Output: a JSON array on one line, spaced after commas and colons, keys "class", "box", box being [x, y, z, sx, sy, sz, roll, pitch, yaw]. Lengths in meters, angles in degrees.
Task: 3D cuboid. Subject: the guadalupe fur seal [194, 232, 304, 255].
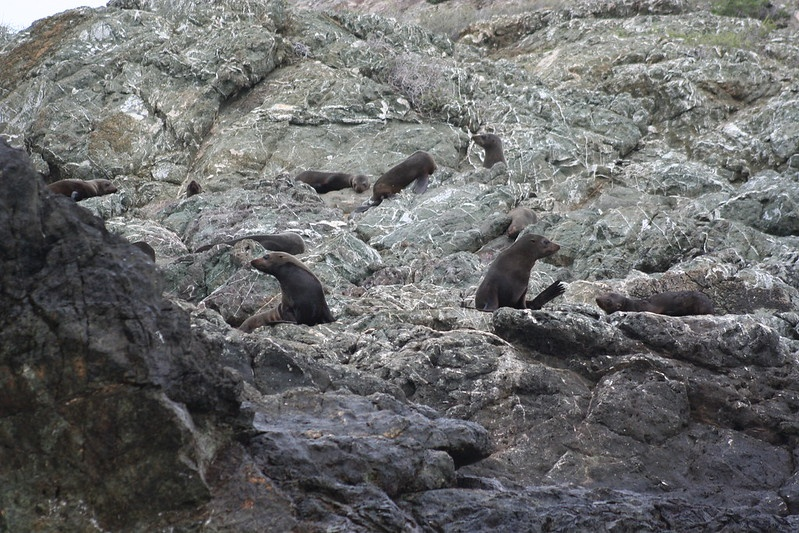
[{"class": "guadalupe fur seal", "box": [-2.910, -0.471, 20.692, 1.964, 0.659, 0.756, -2, -2, -20]}]

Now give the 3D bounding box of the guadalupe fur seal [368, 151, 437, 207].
[{"class": "guadalupe fur seal", "box": [0.178, -2.041, 24.088, 1.642, 0.900, 0.631, -33, -27, -50]}]

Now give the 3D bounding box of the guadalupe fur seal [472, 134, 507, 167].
[{"class": "guadalupe fur seal", "box": [2.198, -2.881, 25.960, 0.698, 0.701, 0.838, -12, -6, 17]}]
